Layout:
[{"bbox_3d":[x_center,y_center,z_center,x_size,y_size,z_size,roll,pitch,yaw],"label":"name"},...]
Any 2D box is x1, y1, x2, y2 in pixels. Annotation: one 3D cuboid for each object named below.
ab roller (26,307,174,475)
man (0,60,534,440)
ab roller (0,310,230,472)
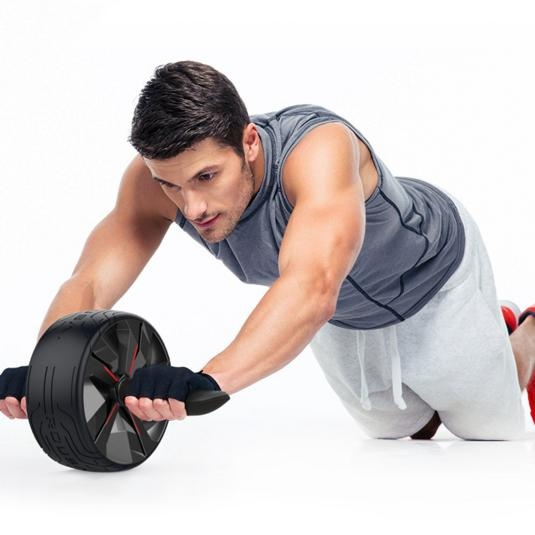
[{"bbox_3d":[-0.502,0.353,1.906,0.288,0.411,0.499,-4,-19,14],"label":"ab roller"},{"bbox_3d":[0.185,0.021,2.650,2.533,1.096,1.135,-9,-4,-44],"label":"man"},{"bbox_3d":[-0.433,0.348,1.811,0.436,0.476,0.303,-19,3,-22],"label":"ab roller"}]
